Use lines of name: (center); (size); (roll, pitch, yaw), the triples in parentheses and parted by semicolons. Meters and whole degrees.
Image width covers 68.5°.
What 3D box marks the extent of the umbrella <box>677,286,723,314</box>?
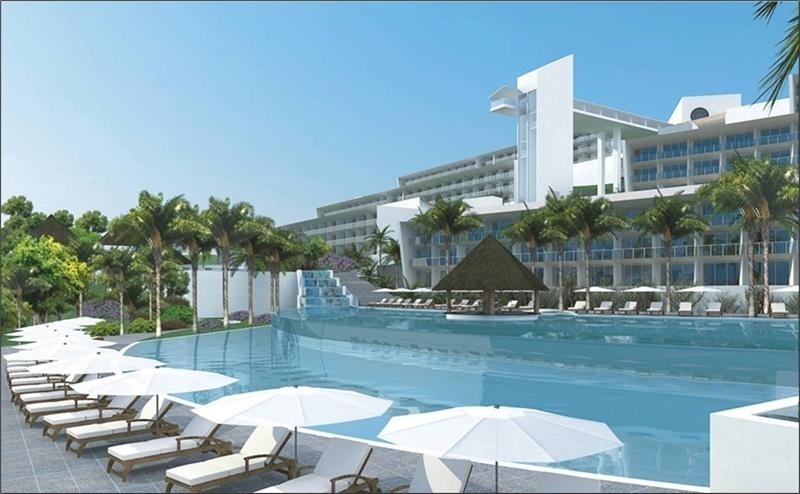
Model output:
umbrella: (20.583, 3.981, 39.819); (2.462, 1.600, 2.653); (-4, -4, 43)
